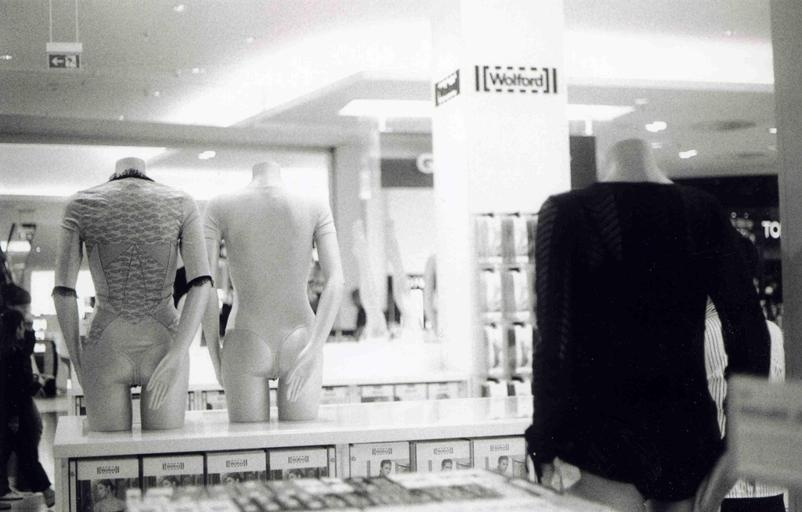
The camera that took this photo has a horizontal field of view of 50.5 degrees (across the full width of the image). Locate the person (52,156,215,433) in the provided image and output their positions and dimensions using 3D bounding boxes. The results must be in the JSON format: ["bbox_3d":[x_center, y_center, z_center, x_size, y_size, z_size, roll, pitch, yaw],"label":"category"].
[{"bbox_3d":[-1.494,0.198,4.763,0.847,1.525,0.232,-3,-2,0],"label":"person"}]
